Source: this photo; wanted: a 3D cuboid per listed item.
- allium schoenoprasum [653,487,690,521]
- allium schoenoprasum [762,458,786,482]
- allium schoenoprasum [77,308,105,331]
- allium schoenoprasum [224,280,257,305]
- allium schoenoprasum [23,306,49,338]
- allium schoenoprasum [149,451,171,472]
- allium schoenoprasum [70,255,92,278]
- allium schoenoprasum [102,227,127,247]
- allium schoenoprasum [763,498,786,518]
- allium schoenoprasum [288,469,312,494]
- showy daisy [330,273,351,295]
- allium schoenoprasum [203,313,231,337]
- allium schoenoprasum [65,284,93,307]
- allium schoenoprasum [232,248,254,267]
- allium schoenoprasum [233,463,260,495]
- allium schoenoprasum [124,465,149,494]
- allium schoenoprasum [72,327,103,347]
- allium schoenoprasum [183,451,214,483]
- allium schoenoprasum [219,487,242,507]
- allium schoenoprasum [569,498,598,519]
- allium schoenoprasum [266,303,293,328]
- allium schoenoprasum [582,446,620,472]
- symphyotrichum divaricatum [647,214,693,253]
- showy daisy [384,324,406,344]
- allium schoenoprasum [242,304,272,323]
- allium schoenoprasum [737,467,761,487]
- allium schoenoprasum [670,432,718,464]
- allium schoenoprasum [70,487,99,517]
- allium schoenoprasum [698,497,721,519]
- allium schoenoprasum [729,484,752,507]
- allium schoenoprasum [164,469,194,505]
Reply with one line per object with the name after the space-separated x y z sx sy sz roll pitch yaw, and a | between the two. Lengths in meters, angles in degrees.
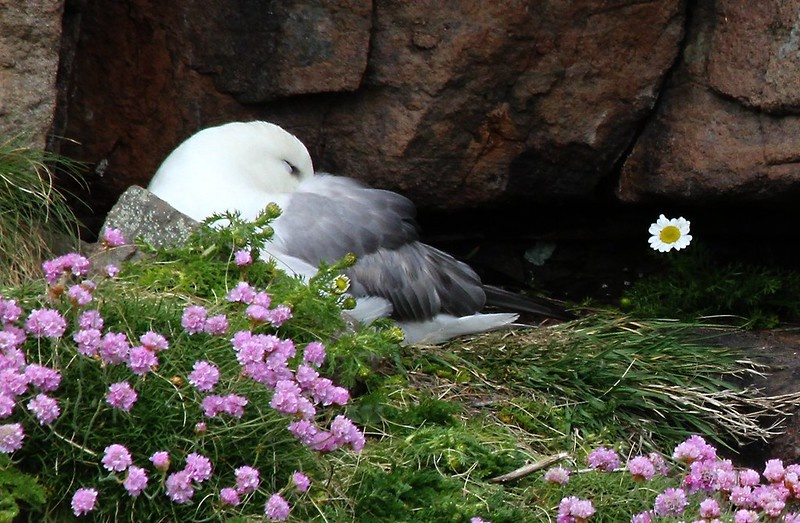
1.221 1.081 5.266 0.133 0.123 0.074 -34 32 -3 | allium schoenoprasum
1.689 0.941 5.267 0.107 0.104 0.106 -20 -25 12 | allium schoenoprasum
-1.388 0.266 5.234 0.098 0.089 0.093 31 2 -21 | allium schoenoprasum
-0.749 0.156 5.534 0.116 0.102 0.111 -22 53 -35 | allium schoenoprasum
-1.597 0.271 5.208 0.126 0.078 0.129 14 28 28 | allium schoenoprasum
-1.062 0.888 5.173 0.075 0.075 0.056 34 52 5 | allium schoenoprasum
-1.484 0.031 5.447 0.096 0.091 0.088 25 3 -4 | allium schoenoprasum
-1.382 -0.127 5.618 0.093 0.100 0.142 3 27 -16 | allium schoenoprasum
1.663 1.090 5.145 0.087 0.076 0.056 -5 7 -10 | allium schoenoprasum
-0.445 1.015 5.358 0.085 0.080 0.100 57 12 15 | allium schoenoprasum
-0.286 0.099 5.918 0.094 0.098 0.094 24 61 -5 | showy daisy
-0.836 0.290 5.309 0.101 0.091 0.049 10 -7 -7 | allium schoenoprasum
-1.449 0.154 5.273 0.093 0.074 0.106 30 -4 -3 | allium schoenoprasum
-0.771 -0.016 5.780 0.083 0.083 0.069 50 9 -27 | allium schoenoprasum
-0.681 0.979 5.267 0.127 0.121 0.097 6 61 4 | allium schoenoprasum
-1.161 0.963 5.107 0.124 0.113 0.115 -10 -11 11 | allium schoenoprasum
-1.397 0.335 5.194 0.139 0.079 0.093 13 26 5 | allium schoenoprasum
-0.893 0.921 5.175 0.116 0.140 0.105 6 27 -10 | allium schoenoprasum
-0.754 1.046 5.224 0.080 0.087 0.069 10 60 28 | allium schoenoprasum
0.825 1.117 5.223 0.107 0.097 0.094 17 27 11 | allium schoenoprasum
-0.564 0.259 5.522 0.109 0.049 0.106 -37 75 -21 | allium schoenoprasum
0.953 0.930 5.525 0.144 0.146 0.149 8 -1 22 | allium schoenoprasum
1.694 -0.218 7.314 0.210 0.068 0.220 -10 -18 36 | symphyotrichum divaricatum
-0.015 0.373 5.963 0.083 0.065 0.096 48 7 -22 | showy daisy
-0.659 0.249 5.449 0.092 0.066 0.093 21 -9 15 | allium schoenoprasum
1.606 0.986 5.319 0.085 0.053 0.087 28 2 23 | allium schoenoprasum
1.359 0.887 5.375 0.146 0.149 0.153 -24 -7 23 | allium schoenoprasum
-1.381 1.069 5.134 0.091 0.119 0.128 -5 -6 11 | allium schoenoprasum
1.377 1.092 5.175 0.090 0.083 0.080 17 -10 -22 | allium schoenoprasum
1.536 1.051 5.206 0.093 0.055 0.091 6 47 10 | allium schoenoprasum
-0.969 0.991 5.117 0.147 0.141 0.082 -3 4 3 | allium schoenoprasum
